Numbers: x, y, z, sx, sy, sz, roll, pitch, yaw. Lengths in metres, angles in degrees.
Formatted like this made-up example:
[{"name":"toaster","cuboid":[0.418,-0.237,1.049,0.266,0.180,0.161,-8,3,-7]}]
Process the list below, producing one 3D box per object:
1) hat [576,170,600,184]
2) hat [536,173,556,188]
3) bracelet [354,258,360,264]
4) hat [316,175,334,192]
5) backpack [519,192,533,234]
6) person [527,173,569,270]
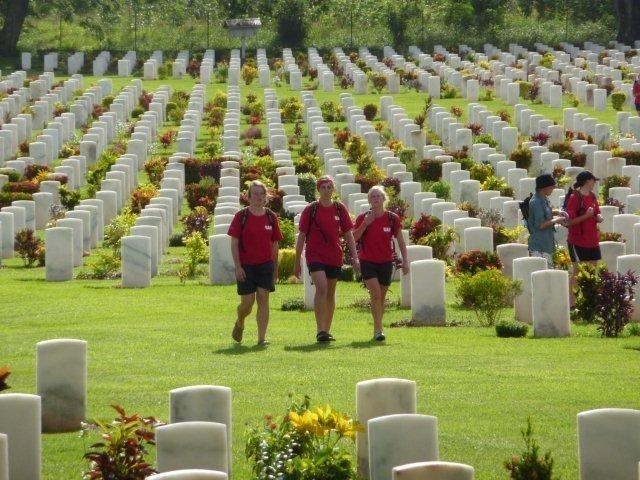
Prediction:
[{"name":"hat","cuboid":[9.673,-2.159,76.918,0.698,0.561,0.522,-1,2,3]},{"name":"hat","cuboid":[8.183,-2.047,76.448,0.680,0.495,0.832,0,3,9]},{"name":"bracelet","cuboid":[1.251,0.809,75.208,0.161,0.135,0.172,2,2,-1]},{"name":"hat","cuboid":[0.047,-1.957,75.179,0.422,0.519,0.560,0,-9,-5]},{"name":"backpack","cuboid":[7.476,-0.967,76.684,0.347,1.112,0.742,-2,8,-7]},{"name":"person","cuboid":[8.036,-0.612,76.489,1.109,3.361,0.772,0,2,9]}]
